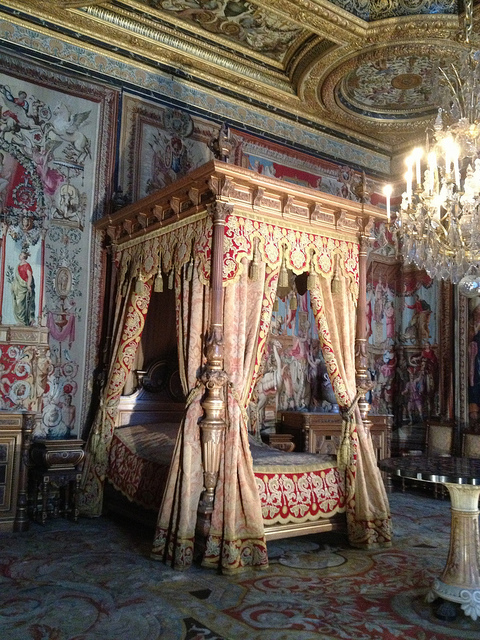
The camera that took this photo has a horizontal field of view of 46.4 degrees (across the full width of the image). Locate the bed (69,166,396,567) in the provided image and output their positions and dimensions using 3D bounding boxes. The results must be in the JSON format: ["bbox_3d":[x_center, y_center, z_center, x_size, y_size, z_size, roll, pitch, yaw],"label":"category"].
[{"bbox_3d":[-0.059,0.474,5.450,2.715,2.929,2.380,-5,-9,37],"label":"bed"}]

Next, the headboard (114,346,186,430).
[{"bbox_3d":[-0.997,0.734,6.024,1.007,0.949,0.076,3,-3,-43],"label":"headboard"}]

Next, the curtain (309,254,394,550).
[{"bbox_3d":[0.980,0.695,5.019,0.510,2.466,0.625,-16,2,-21],"label":"curtain"}]

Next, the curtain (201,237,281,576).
[{"bbox_3d":[0.083,0.542,4.232,0.373,2.487,0.645,-4,-11,36],"label":"curtain"}]

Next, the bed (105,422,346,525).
[{"bbox_3d":[-0.102,1.350,4.941,1.904,0.581,1.878,6,-11,-15],"label":"bed"}]

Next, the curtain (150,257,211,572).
[{"bbox_3d":[-0.460,0.741,4.232,0.275,1.923,0.415,-7,-7,35],"label":"curtain"}]
